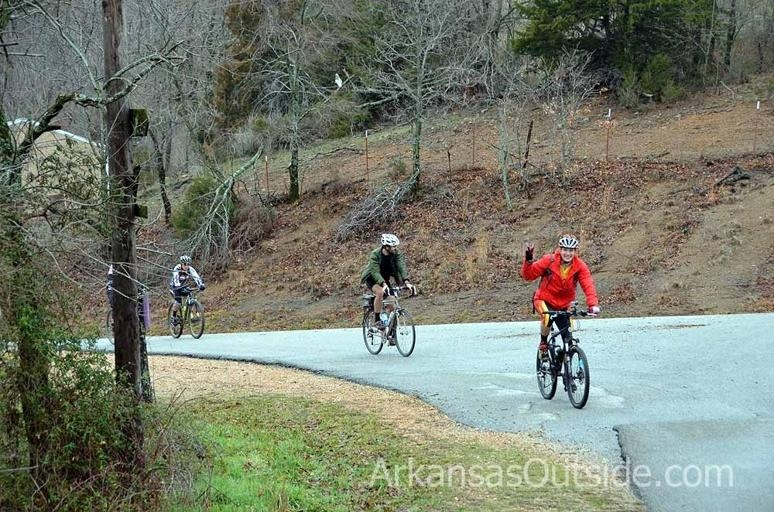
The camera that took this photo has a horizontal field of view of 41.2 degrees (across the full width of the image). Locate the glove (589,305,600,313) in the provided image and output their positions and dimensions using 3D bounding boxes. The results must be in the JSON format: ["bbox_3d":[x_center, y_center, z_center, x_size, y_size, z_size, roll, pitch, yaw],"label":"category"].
[{"bbox_3d":[4.393,1.142,21.885,0.151,0.088,0.199,-2,6,-5],"label":"glove"}]

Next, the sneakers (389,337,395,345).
[{"bbox_3d":[0.147,2.220,26.865,0.152,0.198,0.189,-2,-12,5],"label":"sneakers"}]

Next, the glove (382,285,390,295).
[{"bbox_3d":[-0.014,0.864,26.302,0.148,0.213,0.067,-8,6,38],"label":"glove"}]

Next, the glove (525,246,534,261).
[{"bbox_3d":[3.100,-0.046,22.480,0.195,0.261,0.204,-5,1,-19],"label":"glove"}]

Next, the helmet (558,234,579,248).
[{"bbox_3d":[3.961,-0.298,22.497,0.330,0.264,0.435,-4,1,23],"label":"helmet"}]

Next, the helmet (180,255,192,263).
[{"bbox_3d":[-6.179,0.107,31.558,0.283,0.147,0.396,3,1,-23],"label":"helmet"}]

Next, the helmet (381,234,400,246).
[{"bbox_3d":[0.009,-0.373,26.536,0.446,0.222,0.330,13,24,34],"label":"helmet"}]

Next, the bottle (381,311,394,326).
[{"bbox_3d":[-0.033,1.642,26.932,0.235,0.395,0.126,9,5,13],"label":"bottle"}]
